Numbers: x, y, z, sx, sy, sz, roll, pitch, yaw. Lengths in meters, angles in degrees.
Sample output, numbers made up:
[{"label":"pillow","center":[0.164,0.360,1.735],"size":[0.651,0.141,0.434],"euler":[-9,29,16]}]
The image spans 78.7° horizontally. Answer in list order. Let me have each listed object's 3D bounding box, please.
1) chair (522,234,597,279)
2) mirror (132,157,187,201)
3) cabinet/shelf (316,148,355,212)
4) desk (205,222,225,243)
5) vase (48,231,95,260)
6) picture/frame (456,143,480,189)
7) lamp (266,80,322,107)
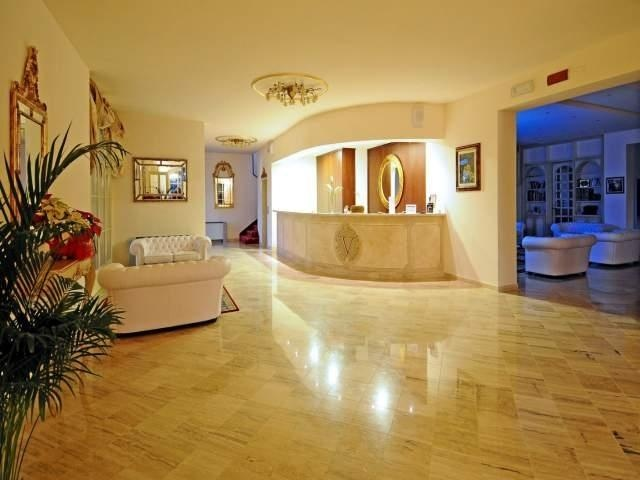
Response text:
[{"label":"chair","center":[4.617,0.288,7.547],"size":[1.170,0.808,0.768],"euler":[-4,6,-18]},{"label":"mirror","center":[-3.596,-1.367,8.676],"size":[0.875,0.884,0.077],"euler":[-1,0,-32]},{"label":"cabinet/shelf","center":[0.446,-1.541,10.345],"size":[0.537,1.705,1.697],"euler":[-3,10,-18]},{"label":"desk","center":[-3.521,-0.299,13.096],"size":[0.643,0.645,0.253],"euler":[-1,1,-35]},{"label":"vase","center":[-1.760,0.037,2.795],"size":[0.222,0.184,0.192],"euler":[-8,-4,15]},{"label":"picture/frame","center":[2.592,-1.283,6.879],"size":[0.094,0.811,0.637],"euler":[-3,10,-18]},{"label":"lamp","center":[-0.376,-2.481,6.745],"size":[0.875,0.313,1.021],"euler":[2,11,11]}]
